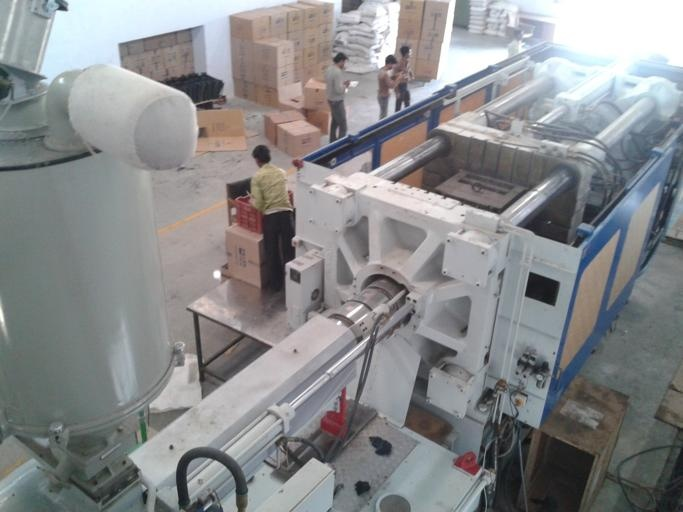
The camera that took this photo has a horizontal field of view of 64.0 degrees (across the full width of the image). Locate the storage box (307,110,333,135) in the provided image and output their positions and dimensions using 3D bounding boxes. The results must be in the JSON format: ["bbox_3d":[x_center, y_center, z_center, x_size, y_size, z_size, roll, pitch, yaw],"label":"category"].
[{"bbox_3d":[-0.384,-2.429,9.881,0.475,0.445,0.261,27,44,31],"label":"storage box"}]

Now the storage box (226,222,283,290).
[{"bbox_3d":[-0.952,-0.045,5.863,0.497,0.496,0.373,14,33,33],"label":"storage box"}]

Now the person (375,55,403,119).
[{"bbox_3d":[0.855,-3.080,9.981,0.398,1.241,1.016,4,29,3],"label":"person"}]

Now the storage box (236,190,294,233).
[{"bbox_3d":[-0.971,-0.426,5.918,0.472,0.297,0.484,24,41,31],"label":"storage box"}]

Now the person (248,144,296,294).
[{"bbox_3d":[-0.709,-0.374,5.642,0.453,1.287,0.850,-2,29,-9],"label":"person"}]

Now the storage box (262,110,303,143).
[{"bbox_3d":[-1.106,-2.331,9.812,0.665,0.471,0.652,-22,43,-25],"label":"storage box"}]
